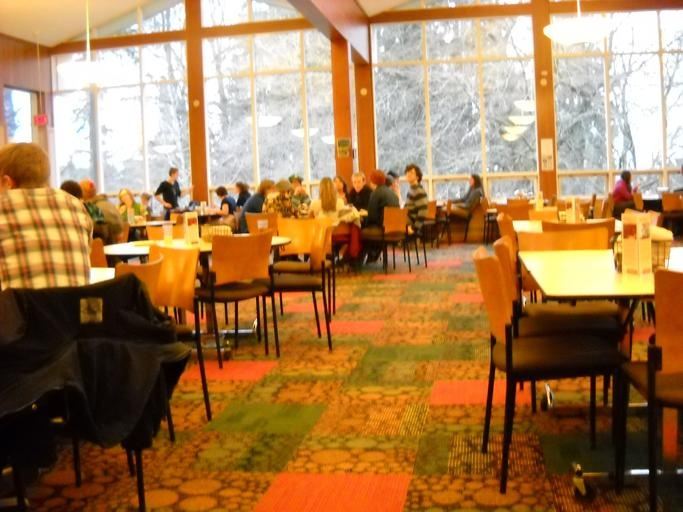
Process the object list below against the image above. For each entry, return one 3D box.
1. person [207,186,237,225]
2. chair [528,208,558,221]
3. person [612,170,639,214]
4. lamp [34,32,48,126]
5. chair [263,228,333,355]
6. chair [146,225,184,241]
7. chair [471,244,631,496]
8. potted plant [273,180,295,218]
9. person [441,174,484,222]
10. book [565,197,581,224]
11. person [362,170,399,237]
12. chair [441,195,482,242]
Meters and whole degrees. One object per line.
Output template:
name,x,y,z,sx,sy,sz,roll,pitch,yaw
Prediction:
person,-2.164,-0.828,11.308,0.411,0.901,0.465,-2,-5,-22
chair,1.941,-0.405,5.919,0.182,0.167,0.204,0,8,12
person,5.629,-1.233,12.294,0.435,0.862,1.367,1,9,24
lamp,-7.436,-4.387,15.182,0.159,1.687,0.344,-5,7,-27
chair,-0.324,0.214,5.761,0.779,1.569,0.819,1,3,-3
chair,-1.628,-0.213,5.687,0.159,0.146,0.165,-1,1,23
chair,1.003,0.505,3.000,0.685,1.090,0.621,-1,7,13
potted plant,-0.759,-0.754,7.988,0.254,0.460,0.872,-3,8,-5
person,2.553,-1.198,12.869,0.801,1.005,0.966,-2,7,4
book,2.001,-0.400,5.325,0.076,0.221,0.305,1,9,29
person,0.546,-0.837,9.440,0.594,0.960,0.704,-2,14,7
chair,2.513,-0.791,13.229,0.773,1.402,0.788,4,3,-6
